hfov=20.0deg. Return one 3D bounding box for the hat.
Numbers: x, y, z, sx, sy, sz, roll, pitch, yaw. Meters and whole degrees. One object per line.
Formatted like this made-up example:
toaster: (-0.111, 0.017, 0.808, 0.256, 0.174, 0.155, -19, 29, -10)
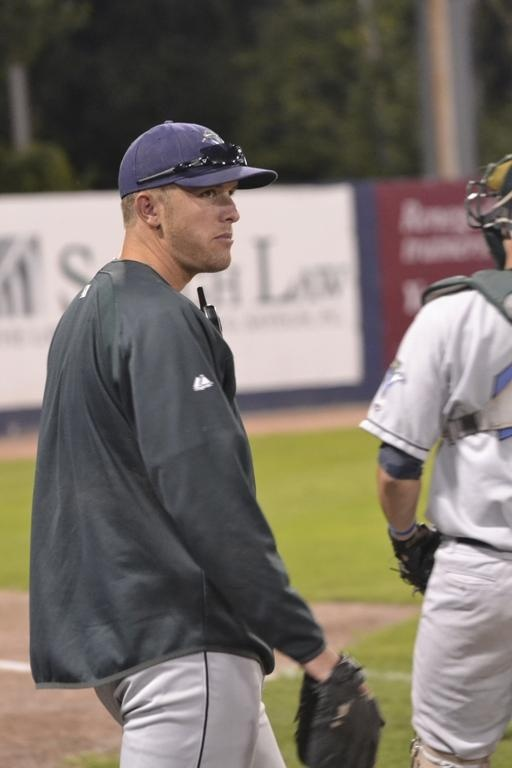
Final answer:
hat: (-0.158, -0.513, 3.459, 0.268, 0.130, 0.192, -9, 5, 16)
